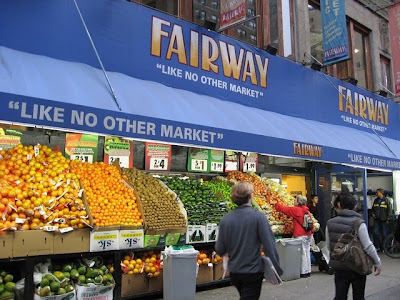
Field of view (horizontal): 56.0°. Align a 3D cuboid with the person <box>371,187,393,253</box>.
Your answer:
[{"bbox_3d":[6.654,2.574,13.881,0.674,2.172,0.488,-3,-5,40],"label":"person"}]

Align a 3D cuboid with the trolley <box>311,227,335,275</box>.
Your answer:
[{"bbox_3d":[3.533,3.027,11.051,0.416,0.365,0.869,-38,14,17],"label":"trolley"}]

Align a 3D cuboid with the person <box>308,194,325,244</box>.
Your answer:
[{"bbox_3d":[3.756,2.122,12.306,0.519,1.909,0.601,1,3,-39],"label":"person"}]

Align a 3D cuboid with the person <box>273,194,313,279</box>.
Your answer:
[{"bbox_3d":[2.530,2.149,10.241,0.778,2.591,0.898,-6,-10,42],"label":"person"}]
